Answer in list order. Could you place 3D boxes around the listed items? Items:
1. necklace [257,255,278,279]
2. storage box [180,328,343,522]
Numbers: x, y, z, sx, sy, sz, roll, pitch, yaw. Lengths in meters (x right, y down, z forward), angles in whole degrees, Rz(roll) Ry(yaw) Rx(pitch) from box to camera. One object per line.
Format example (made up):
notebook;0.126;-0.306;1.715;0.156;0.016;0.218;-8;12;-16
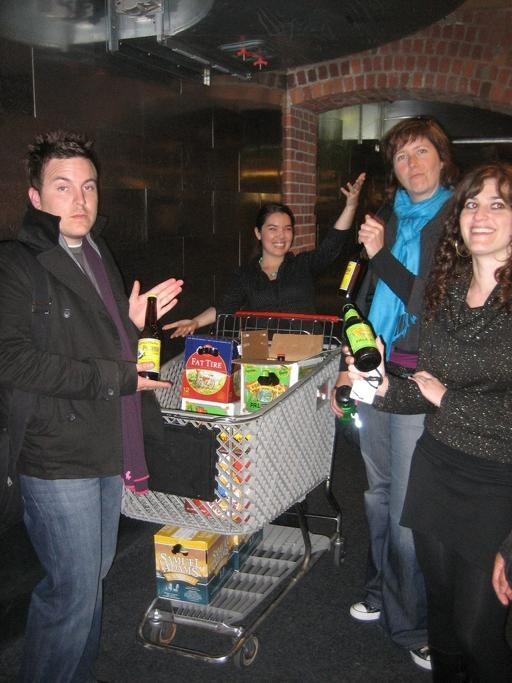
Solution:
necklace;0.067;-0.422;3.115;0.111;0.138;0.108;-1;-17;0
storage box;-0.060;0.337;2.158;0.425;0.500;0.755;1;15;31
